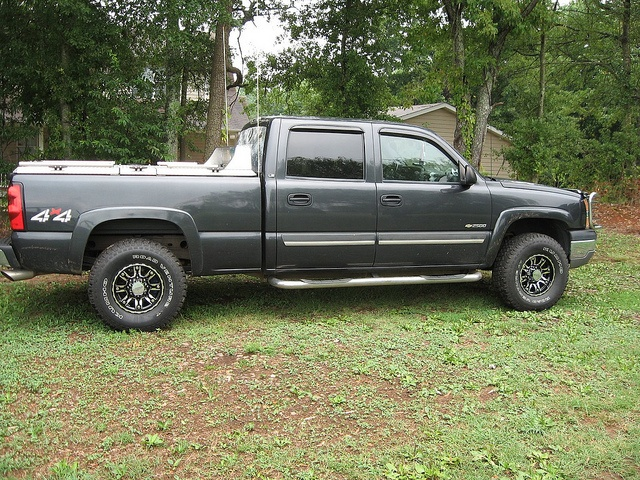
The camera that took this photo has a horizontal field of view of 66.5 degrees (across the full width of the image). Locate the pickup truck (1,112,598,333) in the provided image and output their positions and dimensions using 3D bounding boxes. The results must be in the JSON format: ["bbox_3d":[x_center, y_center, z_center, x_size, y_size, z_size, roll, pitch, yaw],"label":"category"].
[{"bbox_3d":[0.011,-0.308,6.894,7.069,2.291,2.866,-2,4,-11],"label":"pickup truck"}]
